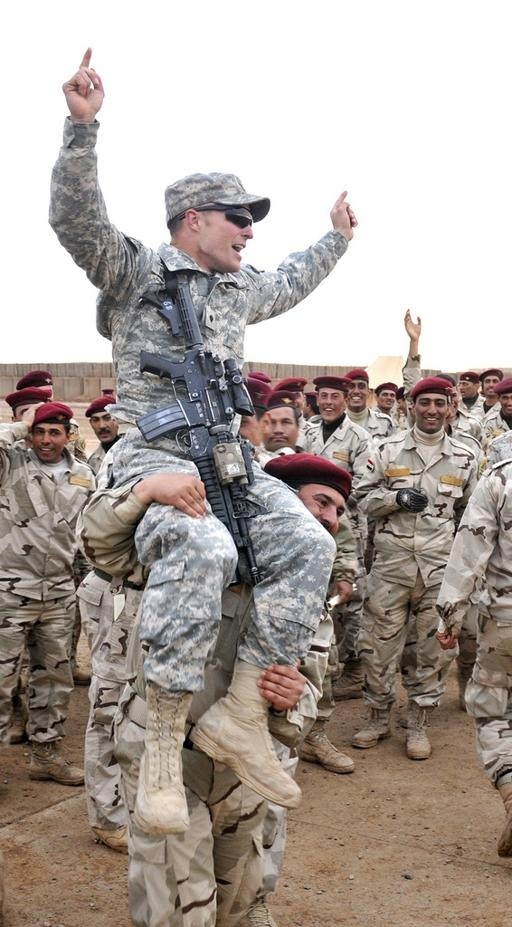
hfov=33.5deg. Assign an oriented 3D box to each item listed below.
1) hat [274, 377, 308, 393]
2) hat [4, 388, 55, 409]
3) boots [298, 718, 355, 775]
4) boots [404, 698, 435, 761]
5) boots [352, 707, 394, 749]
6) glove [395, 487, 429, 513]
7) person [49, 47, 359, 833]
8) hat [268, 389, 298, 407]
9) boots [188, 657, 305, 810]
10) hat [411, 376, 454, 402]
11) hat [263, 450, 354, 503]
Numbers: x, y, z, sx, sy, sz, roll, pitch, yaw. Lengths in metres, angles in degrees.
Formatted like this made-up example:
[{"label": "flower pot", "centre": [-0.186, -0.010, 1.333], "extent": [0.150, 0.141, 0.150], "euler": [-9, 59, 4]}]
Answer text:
[{"label": "hat", "centre": [0.350, -0.760, 8.300], "extent": [0.377, 0.144, 0.416], "euler": [-1, -5, -1]}, {"label": "hat", "centre": [-1.757, -0.505, 6.545], "extent": [0.281, 0.114, 0.313], "euler": [-3, 0, -27]}, {"label": "boots", "centre": [0.496, 1.904, 5.735], "extent": [0.461, 0.297, 0.166], "euler": [13, 11, 35]}, {"label": "boots", "centre": [1.144, 1.845, 5.959], "extent": [0.177, 0.320, 0.477], "euler": [6, 6, 8]}, {"label": "boots", "centre": [0.827, 1.915, 6.190], "extent": [0.158, 0.278, 0.418], "euler": [2, -5, 34]}, {"label": "glove", "centre": [1.101, 0.262, 6.030], "extent": [0.221, 0.182, 0.211], "euler": [1, -1, 17]}, {"label": "person", "centre": [-0.177, -0.055, 2.601], "extent": [0.912, 1.748, 0.896], "euler": [1, -1, -20]}, {"label": "hat", "centre": [0.191, -0.485, 6.272], "extent": [0.255, 0.119, 0.322], "euler": [0, -9, -1]}, {"label": "boots", "centre": [-0.038, 0.751, 2.379], "extent": [0.251, 0.289, 0.261], "euler": [1, -1, -17]}, {"label": "hat", "centre": [1.285, -0.567, 6.154], "extent": [0.268, 0.170, 0.382], "euler": [1, -1, -21]}, {"label": "hat", "centre": [0.217, 0.041, 3.368], "extent": [0.251, 0.094, 0.199], "euler": [24, -6, 6]}]
